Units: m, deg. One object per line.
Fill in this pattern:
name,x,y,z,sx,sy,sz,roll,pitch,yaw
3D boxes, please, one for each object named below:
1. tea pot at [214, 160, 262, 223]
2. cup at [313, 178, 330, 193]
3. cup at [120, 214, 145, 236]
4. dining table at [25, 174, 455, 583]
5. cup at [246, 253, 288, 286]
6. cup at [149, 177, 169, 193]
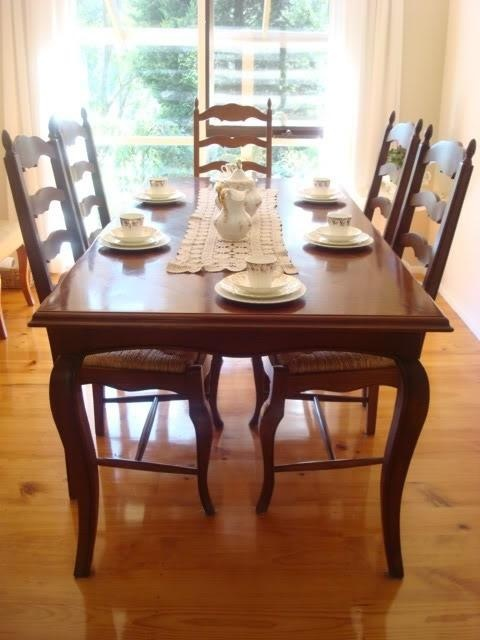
tea pot,-0.007,-0.382,1.590,0.119,0.150,0.127,6,15,-2
cup,0.318,-0.531,2.091,0.056,0.045,0.058,-2,30,1
cup,-0.295,-0.271,1.490,0.066,0.056,0.070,2,24,-1
dining table,-0.004,0.276,1.459,0.695,0.576,1.255,-1,30,-1
cup,0.053,-0.096,1.070,0.082,0.057,0.060,-1,26,-3
cup,-0.322,-0.532,2.088,0.067,0.051,0.071,-1,22,0
